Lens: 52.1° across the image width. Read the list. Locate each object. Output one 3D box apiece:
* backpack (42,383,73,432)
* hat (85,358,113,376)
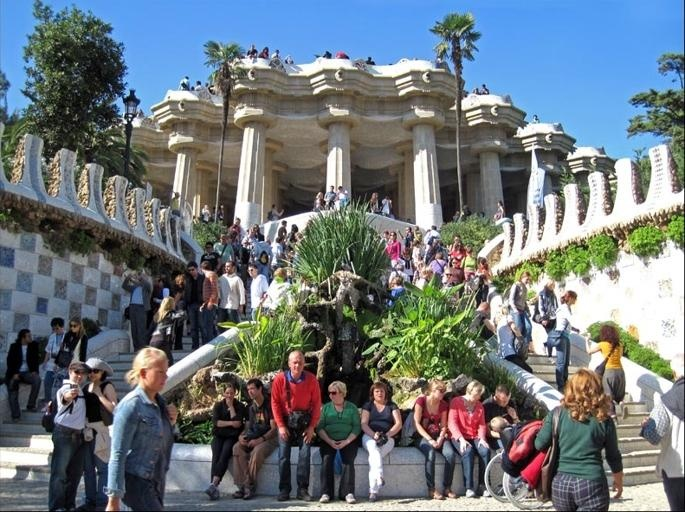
[{"bbox_3d":[-4.022,2.158,9.833,0.327,0.696,0.456,19,-17,-21],"label":"backpack"},{"bbox_3d":[-3.307,1.486,9.582,0.310,0.125,0.298,24,-23,-18],"label":"hat"}]
